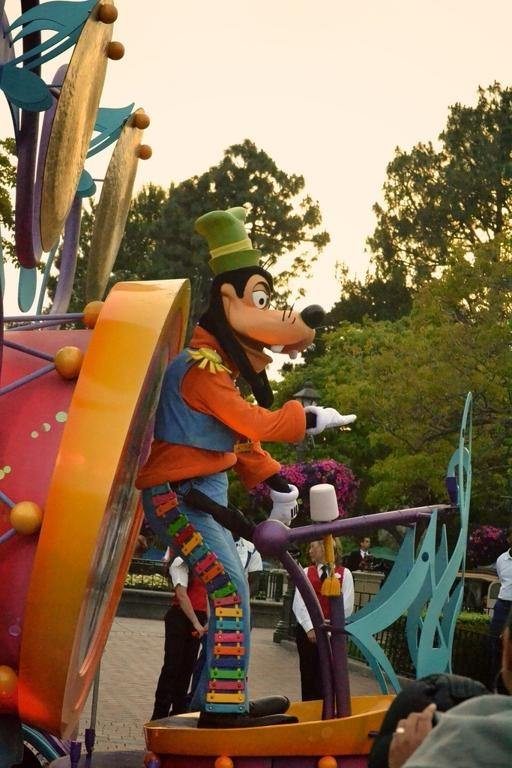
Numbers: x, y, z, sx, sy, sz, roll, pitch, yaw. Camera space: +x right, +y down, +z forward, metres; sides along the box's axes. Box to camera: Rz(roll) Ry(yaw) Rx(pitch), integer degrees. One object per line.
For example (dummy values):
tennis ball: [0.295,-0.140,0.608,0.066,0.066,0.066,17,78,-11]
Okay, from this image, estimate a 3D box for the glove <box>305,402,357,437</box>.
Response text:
glove: [0.331,0.178,3.223,0.226,0.143,0.301,7,-8,4]
